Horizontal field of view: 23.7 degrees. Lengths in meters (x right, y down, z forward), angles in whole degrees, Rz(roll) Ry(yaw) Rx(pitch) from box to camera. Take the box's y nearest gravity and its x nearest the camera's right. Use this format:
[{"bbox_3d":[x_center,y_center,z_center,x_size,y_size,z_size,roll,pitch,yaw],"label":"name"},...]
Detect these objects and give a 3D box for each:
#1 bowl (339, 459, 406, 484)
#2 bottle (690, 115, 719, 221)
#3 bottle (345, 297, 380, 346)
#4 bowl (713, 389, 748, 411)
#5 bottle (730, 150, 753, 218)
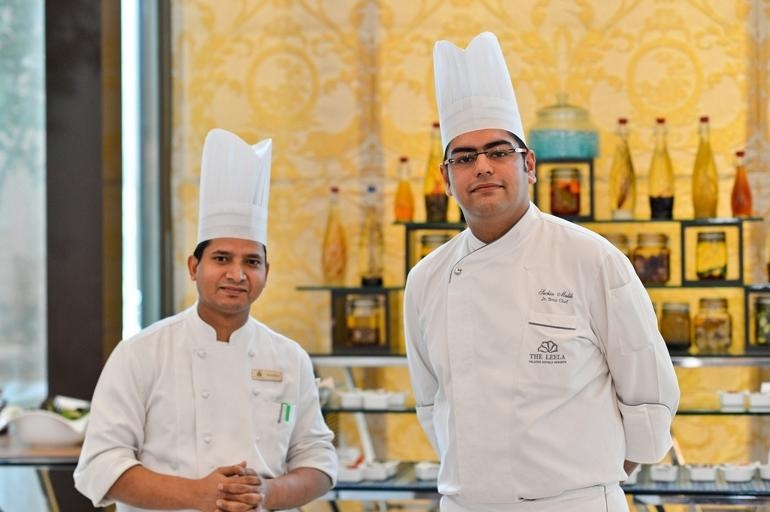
[{"bbox_3d":[-0.062,1.189,10.171,0.412,0.116,0.183,6,-10,-41],"label":"bowl"},{"bbox_3d":[1.772,-0.485,10.230,0.175,0.570,0.170,-1,-7,0],"label":"bottle"},{"bbox_3d":[-0.126,0.370,10.392,0.199,0.251,0.065,-2,5,3],"label":"bottle"},{"bbox_3d":[1.904,0.808,10.133,0.181,0.115,0.099,-1,-8,8],"label":"bowl"},{"bbox_3d":[1.952,-0.393,10.206,0.116,0.384,0.162,-2,-7,10],"label":"bottle"}]
